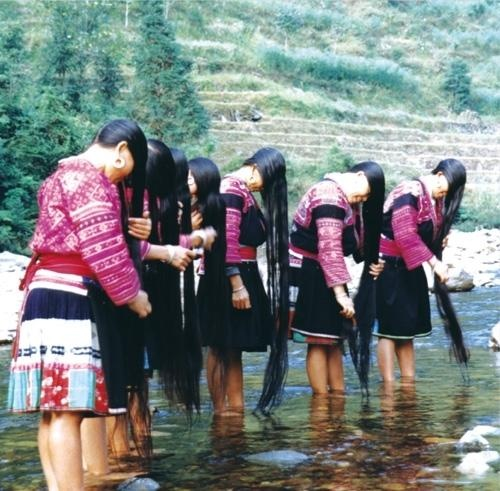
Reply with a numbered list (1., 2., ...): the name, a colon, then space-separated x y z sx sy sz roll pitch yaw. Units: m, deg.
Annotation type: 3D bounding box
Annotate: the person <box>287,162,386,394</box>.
1. person: 0.637 0.226 5.407 0.695 1.549 0.606 -4 -4 -17
